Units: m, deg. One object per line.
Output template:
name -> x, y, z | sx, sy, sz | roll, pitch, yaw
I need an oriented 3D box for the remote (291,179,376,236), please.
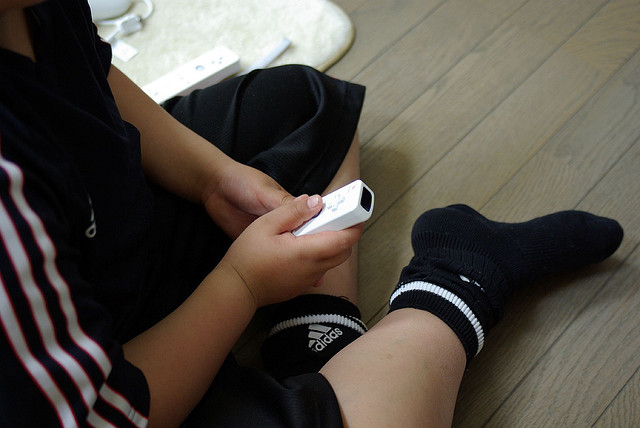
remote -> 0.022, 0.000, 0.960 | 0.038, 0.147, 0.071 | 44, 44, -30
